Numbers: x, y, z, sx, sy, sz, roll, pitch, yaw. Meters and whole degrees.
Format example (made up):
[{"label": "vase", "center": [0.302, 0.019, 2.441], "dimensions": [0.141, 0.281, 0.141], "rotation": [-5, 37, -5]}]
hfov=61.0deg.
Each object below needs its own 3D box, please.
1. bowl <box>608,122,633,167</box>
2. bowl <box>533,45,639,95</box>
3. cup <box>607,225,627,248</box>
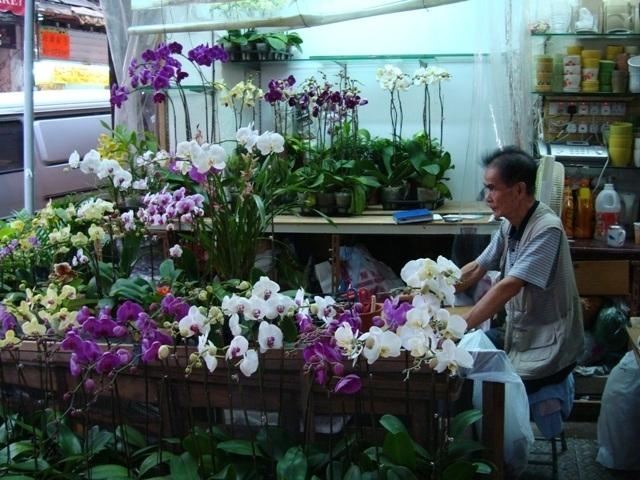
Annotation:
[{"label": "bowl", "center": [2.095, -0.661, 3.787], "dimensions": [0.169, 0.296, 0.125], "rotation": [-1, 5, 18]}, {"label": "bowl", "center": [1.875, -1.208, 3.840], "dimensions": [0.666, 0.355, 0.287], "rotation": [-1, 5, 17]}, {"label": "cup", "center": [1.962, -0.028, 3.617], "dimensions": [0.107, 0.140, 0.139], "rotation": [0, 6, 28]}]
